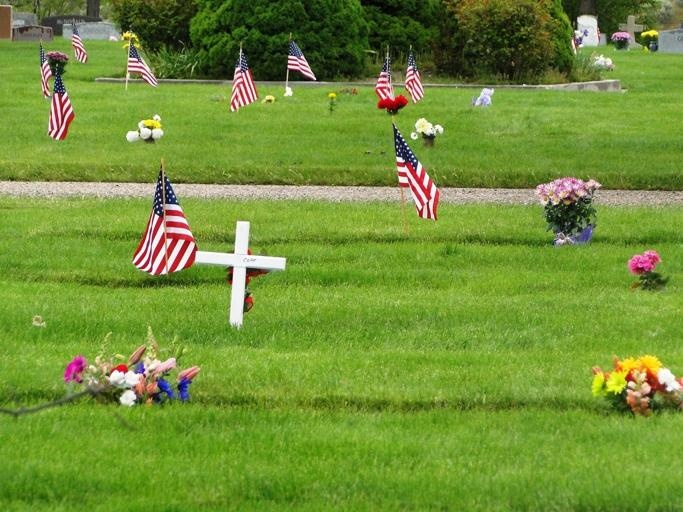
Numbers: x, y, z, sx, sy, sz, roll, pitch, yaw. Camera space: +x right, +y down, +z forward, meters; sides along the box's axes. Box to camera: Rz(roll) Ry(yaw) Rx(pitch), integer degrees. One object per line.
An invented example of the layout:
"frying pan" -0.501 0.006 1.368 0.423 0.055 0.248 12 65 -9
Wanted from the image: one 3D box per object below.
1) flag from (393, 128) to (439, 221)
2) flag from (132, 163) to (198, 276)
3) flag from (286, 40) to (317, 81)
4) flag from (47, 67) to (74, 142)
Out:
"flag" 2.110 -2.457 60.145 1.180 3.529 0.323 -4 39 14
"flag" -4.902 -1.101 58.207 1.788 3.221 0.654 5 13 28
"flag" -1.512 -7.535 78.590 1.388 1.519 0.157 14 -14 -27
"flag" -8.725 -4.727 65.294 0.678 2.197 1.182 -6 12 -19
